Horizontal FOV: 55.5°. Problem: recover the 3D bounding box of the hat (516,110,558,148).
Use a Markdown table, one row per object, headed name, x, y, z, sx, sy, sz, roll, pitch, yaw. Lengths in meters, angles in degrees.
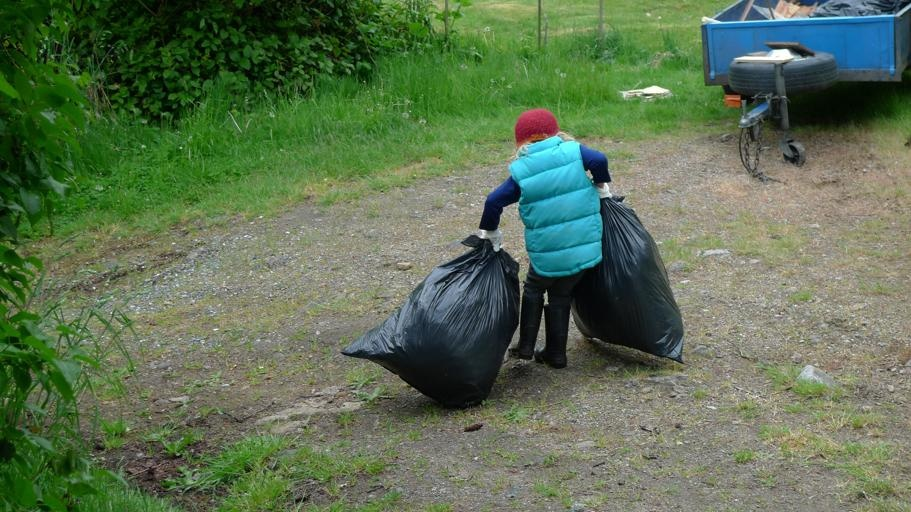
| name | x | y | z | sx | sy | sz | roll | pitch | yaw |
| --- | --- | --- | --- | --- | --- | --- | --- | --- | --- |
| hat | 0.705 | -1.129 | 7.490 | 0.361 | 0.227 | 0.341 | -21 | 15 | -29 |
